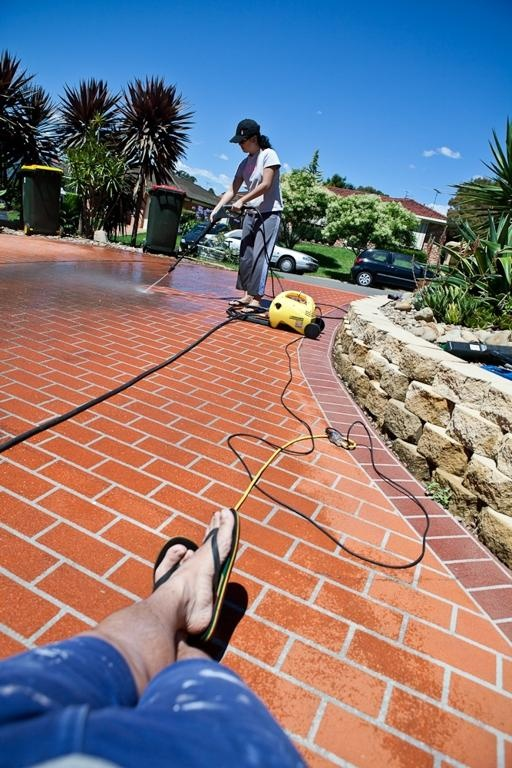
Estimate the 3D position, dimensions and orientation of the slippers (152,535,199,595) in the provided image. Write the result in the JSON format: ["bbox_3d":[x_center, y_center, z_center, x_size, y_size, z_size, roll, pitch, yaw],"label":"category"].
[{"bbox_3d":[-0.273,0.555,1.529,0.087,0.223,0.058,20,-21,21],"label":"slippers"}]

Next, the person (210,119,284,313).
[{"bbox_3d":[-0.095,-1.821,5.383,0.709,1.989,0.913,8,15,-7],"label":"person"}]

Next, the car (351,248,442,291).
[{"bbox_3d":[4.911,-4.294,17.810,2.419,1.405,1.044,19,17,32],"label":"car"}]

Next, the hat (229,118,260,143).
[{"bbox_3d":[-0.106,-2.591,4.844,0.257,0.256,0.427,8,15,-7],"label":"hat"}]

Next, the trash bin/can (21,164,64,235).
[{"bbox_3d":[-4.713,-3.900,10.165,0.782,1.428,1.100,3,16,-25],"label":"trash bin/can"}]

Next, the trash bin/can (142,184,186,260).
[{"bbox_3d":[-2.059,-3.553,10.264,0.739,1.492,0.991,6,15,-15],"label":"trash bin/can"}]

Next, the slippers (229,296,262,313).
[{"bbox_3d":[-0.145,-1.007,6.040,0.252,0.082,0.353,1,24,3],"label":"slippers"}]
